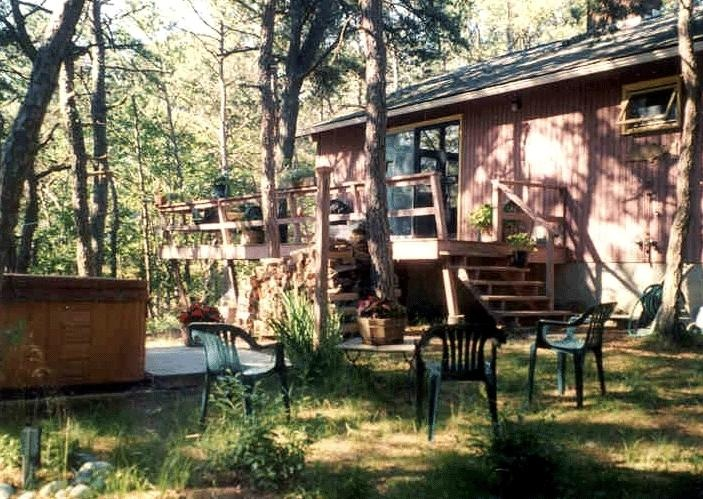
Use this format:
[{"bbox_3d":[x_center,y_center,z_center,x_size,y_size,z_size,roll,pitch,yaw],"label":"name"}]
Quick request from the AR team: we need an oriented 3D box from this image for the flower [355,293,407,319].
[{"bbox_3d":[0.459,0.884,11.776,0.725,0.362,0.408,-2,-4,-2],"label":"flower"}]

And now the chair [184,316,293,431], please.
[{"bbox_3d":[-1.434,1.572,10.041,1.074,1.389,1.198,-6,1,10],"label":"chair"}]

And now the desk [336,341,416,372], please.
[{"bbox_3d":[0.392,1.584,11.678,1.125,0.459,2.239,-2,-4,3],"label":"desk"}]

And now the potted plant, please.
[{"bbox_3d":[3.322,-0.346,15.415,1.219,1.103,1.429,4,-3,-26],"label":"potted plant"}]
